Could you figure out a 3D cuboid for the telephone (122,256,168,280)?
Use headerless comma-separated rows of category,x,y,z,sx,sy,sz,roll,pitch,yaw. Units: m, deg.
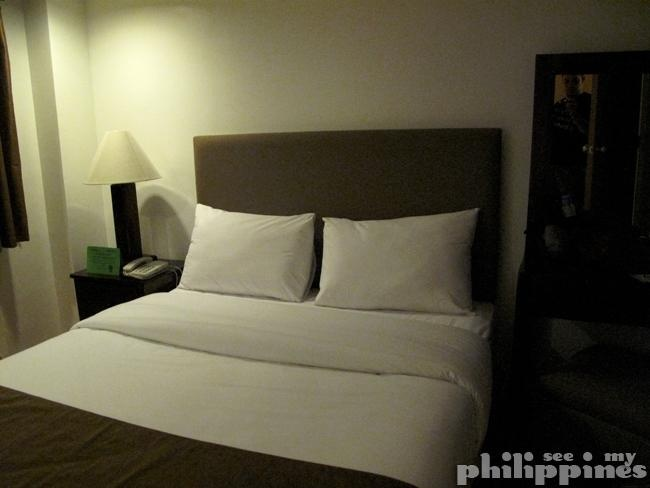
telephone,-1.069,0.138,3.172,0.135,0.058,0.187,6,17,19

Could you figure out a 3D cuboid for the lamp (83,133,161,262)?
lamp,-1.201,-0.273,3.172,0.409,0.800,0.216,-4,13,-19

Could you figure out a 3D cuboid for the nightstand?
nightstand,-1.208,0.409,3.200,0.358,0.512,0.500,8,17,23
